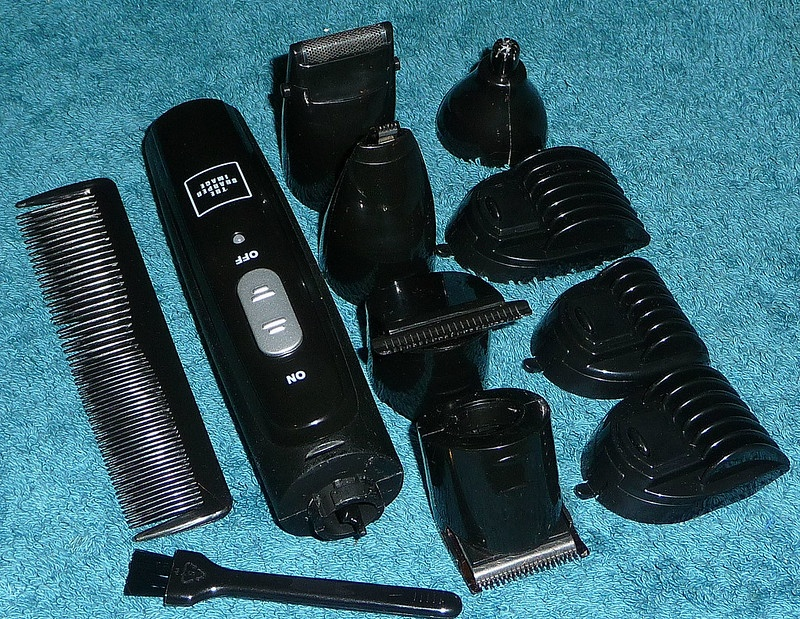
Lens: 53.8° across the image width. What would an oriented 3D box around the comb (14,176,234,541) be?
[{"bbox_3d":[-0.387,0.051,1.077,0.144,0.025,0.557,-15,66,-31],"label":"comb"}]
